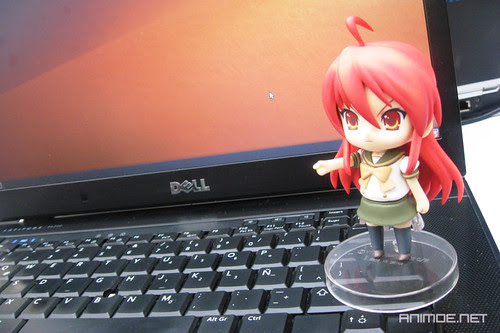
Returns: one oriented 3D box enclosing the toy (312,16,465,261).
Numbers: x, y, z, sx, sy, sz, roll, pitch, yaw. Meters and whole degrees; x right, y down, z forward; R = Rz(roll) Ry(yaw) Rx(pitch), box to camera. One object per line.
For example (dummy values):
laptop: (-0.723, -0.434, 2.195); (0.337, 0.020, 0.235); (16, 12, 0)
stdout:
toy: (0.184, -0.033, 0.537); (0.189, 0.328, 0.147); (4, 14, 40)
